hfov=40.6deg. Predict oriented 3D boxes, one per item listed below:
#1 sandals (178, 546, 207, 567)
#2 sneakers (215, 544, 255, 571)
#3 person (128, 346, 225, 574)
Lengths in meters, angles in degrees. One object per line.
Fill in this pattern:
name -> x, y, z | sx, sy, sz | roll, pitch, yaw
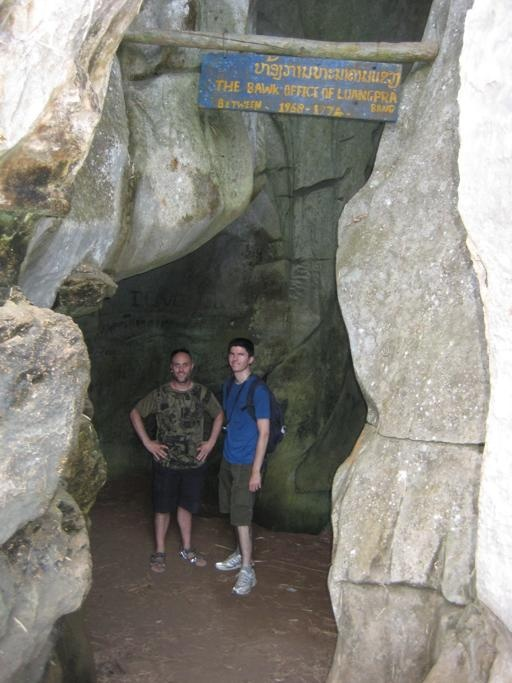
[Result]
sandals -> -0.397, 1.351, 4.356 | 0.071, 0.072, 0.197 | -4, 3, -38
sneakers -> -0.089, 1.335, 4.282 | 0.294, 0.134, 0.109 | 5, -6, -36
person -> -0.493, 0.715, 4.196 | 0.541, 1.349, 0.301 | 4, 4, -4
